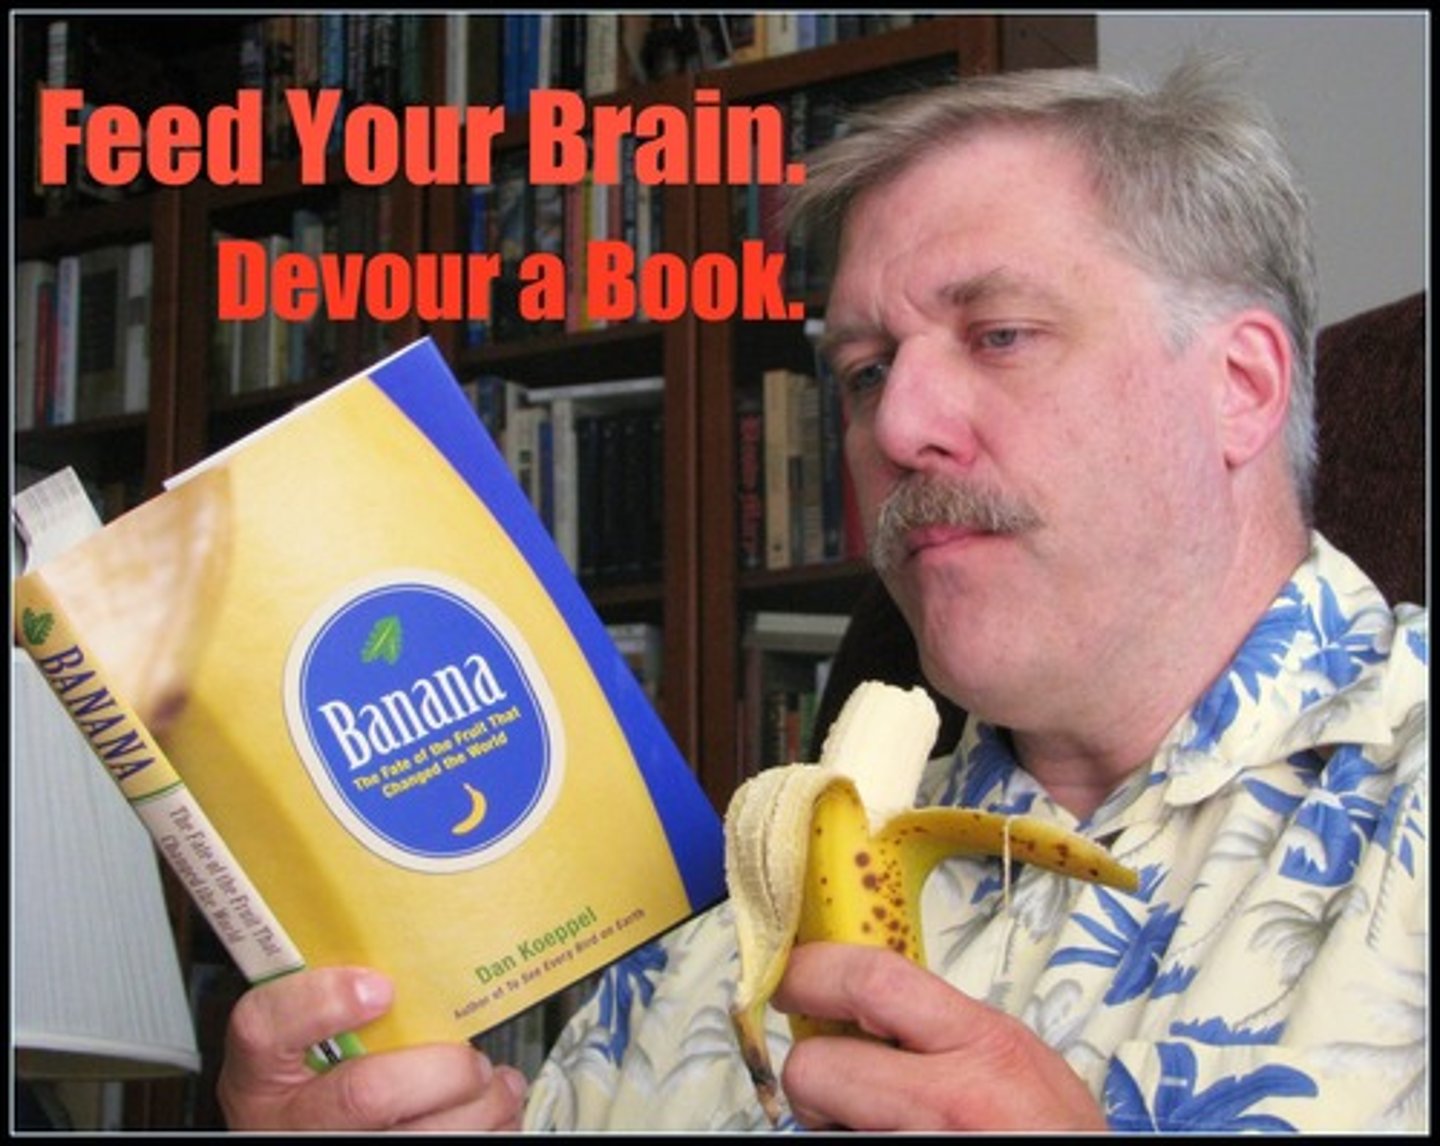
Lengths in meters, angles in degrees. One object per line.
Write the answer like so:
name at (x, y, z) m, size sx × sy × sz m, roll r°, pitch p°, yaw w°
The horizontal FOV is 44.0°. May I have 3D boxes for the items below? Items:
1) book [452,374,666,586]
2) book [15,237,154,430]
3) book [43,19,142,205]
book at (-0.178, -0.112, 2.206) m, size 0.217 × 0.243 × 0.075 m, roll -18°, pitch -7°, yaw 18°
book at (-1.055, -0.395, 2.976) m, size 0.138 × 0.282 × 0.248 m, roll 0°, pitch -7°, yaw -45°
book at (-1.060, -0.781, 3.026) m, size 0.150 × 0.301 × 0.195 m, roll 6°, pitch 12°, yaw 43°
